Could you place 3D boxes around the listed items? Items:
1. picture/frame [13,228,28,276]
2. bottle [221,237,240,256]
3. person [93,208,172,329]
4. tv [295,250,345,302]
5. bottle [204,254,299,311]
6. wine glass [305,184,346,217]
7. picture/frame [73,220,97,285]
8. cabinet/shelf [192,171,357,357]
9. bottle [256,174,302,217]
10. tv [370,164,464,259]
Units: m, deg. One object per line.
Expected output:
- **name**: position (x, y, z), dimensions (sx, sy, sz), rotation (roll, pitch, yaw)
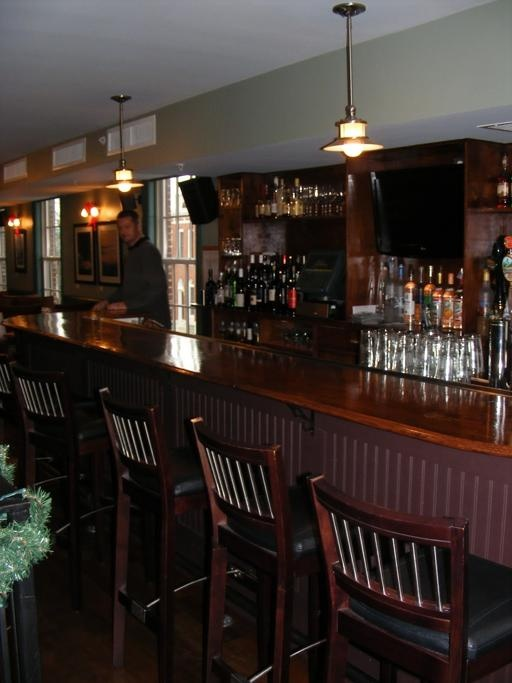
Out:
- **picture/frame**: position (-4.849, -1.890, 11.867), dimensions (0.051, 0.860, 0.805), rotation (-7, 15, -39)
- **bottle**: position (-0.240, -0.937, 5.626), dimensions (0.198, 0.186, 0.102), rotation (0, -1, 32)
- **person**: position (-0.959, -0.564, 4.510), dimensions (0.519, 0.920, 0.578), rotation (-1, 9, 7)
- **tv**: position (0.564, -0.522, 4.759), dimensions (0.229, 0.428, 0.406), rotation (13, 0, -32)
- **bottle**: position (-0.006, -0.566, 5.529), dimensions (0.619, 0.347, 0.224), rotation (3, -2, 34)
- **wine glass**: position (0.571, -1.163, 4.827), dimensions (0.328, 0.231, 0.322), rotation (6, 28, 7)
- **picture/frame**: position (-2.672, -1.395, 9.157), dimensions (0.036, 0.932, 0.821), rotation (-5, 9, -42)
- **cabinet/shelf**: position (0.213, -0.707, 5.070), dimensions (0.494, 1.520, 1.651), rotation (-4, 9, -35)
- **bottle**: position (0.248, -1.315, 5.243), dimensions (0.302, 0.390, 0.660), rotation (-6, 10, -24)
- **tv**: position (1.151, -0.881, 3.997), dimensions (0.095, 0.604, 0.883), rotation (-18, 19, -30)
